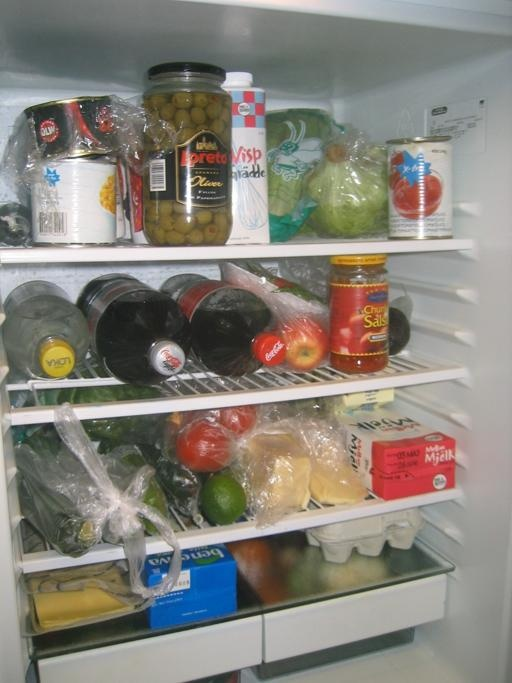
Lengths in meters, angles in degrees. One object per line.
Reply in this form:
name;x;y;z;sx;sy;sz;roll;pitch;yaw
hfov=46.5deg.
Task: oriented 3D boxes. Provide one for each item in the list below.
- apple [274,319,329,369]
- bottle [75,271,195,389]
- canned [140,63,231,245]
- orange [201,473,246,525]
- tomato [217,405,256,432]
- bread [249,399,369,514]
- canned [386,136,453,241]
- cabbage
apple;0.081;0.005;1.048;0.088;0.079;0.105;-9;15;-4
bottle;-0.196;-0.022;0.938;0.141;0.163;0.356;-4;8;-26
canned;-0.093;-0.251;0.831;0.129;0.239;0.075;-2;7;-12
orange;-0.055;0.257;0.948;0.066;0.073;0.058;6;9;44
tomato;-0.033;0.135;1.045;0.057;0.029;0.043;-4;27;-12
bread;0.067;0.204;1.047;0.155;0.048;0.168;3;31;-16
canned;0.262;-0.242;0.958;0.100;0.158;0.042;1;7;13
cabbage;0.147;-0.284;1.098;0.160;0.189;0.153;-17;23;-29
